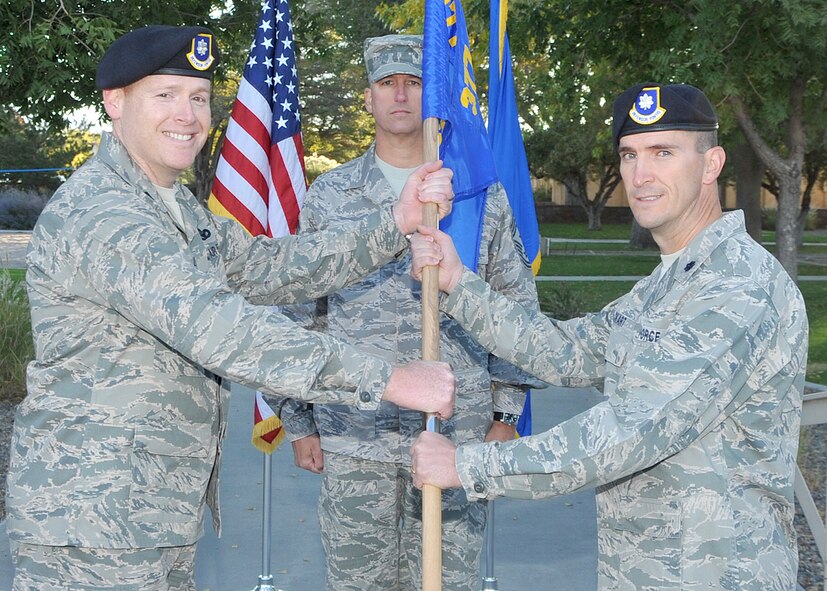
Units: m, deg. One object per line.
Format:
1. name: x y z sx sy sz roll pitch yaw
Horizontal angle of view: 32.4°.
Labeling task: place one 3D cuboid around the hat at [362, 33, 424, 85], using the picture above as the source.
1. hat: -0.149 -1.540 9.264 0.148 0.428 0.360 -4 -25 38

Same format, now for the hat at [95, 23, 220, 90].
1. hat: -1.468 -1.385 8.186 0.509 0.188 0.433 -3 11 14
